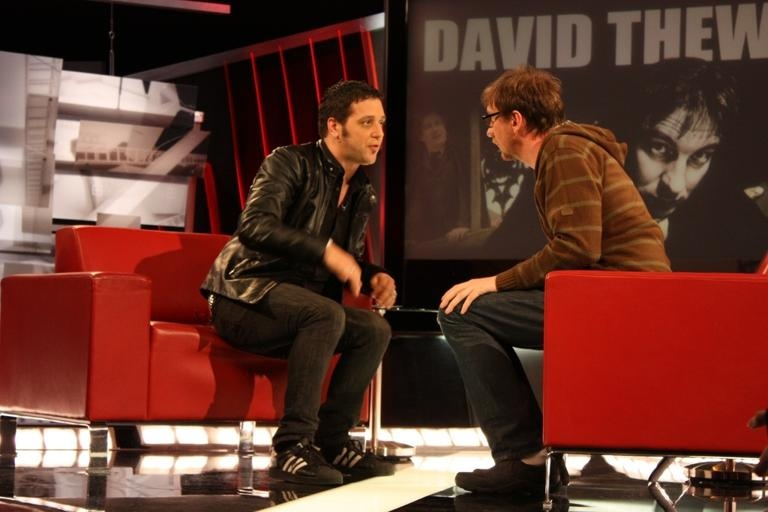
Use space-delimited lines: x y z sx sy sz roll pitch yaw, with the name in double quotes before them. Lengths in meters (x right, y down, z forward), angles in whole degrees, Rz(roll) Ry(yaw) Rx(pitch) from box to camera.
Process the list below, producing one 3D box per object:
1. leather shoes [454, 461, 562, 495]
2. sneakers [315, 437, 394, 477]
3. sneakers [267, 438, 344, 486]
"leather shoes" 0.467 0.798 2.762 0.387 0.152 0.140 2 -6 11
"sneakers" -0.129 0.828 3.065 0.367 0.145 0.120 2 2 6
"sneakers" -0.304 0.805 2.887 0.315 0.137 0.128 -3 -9 37
